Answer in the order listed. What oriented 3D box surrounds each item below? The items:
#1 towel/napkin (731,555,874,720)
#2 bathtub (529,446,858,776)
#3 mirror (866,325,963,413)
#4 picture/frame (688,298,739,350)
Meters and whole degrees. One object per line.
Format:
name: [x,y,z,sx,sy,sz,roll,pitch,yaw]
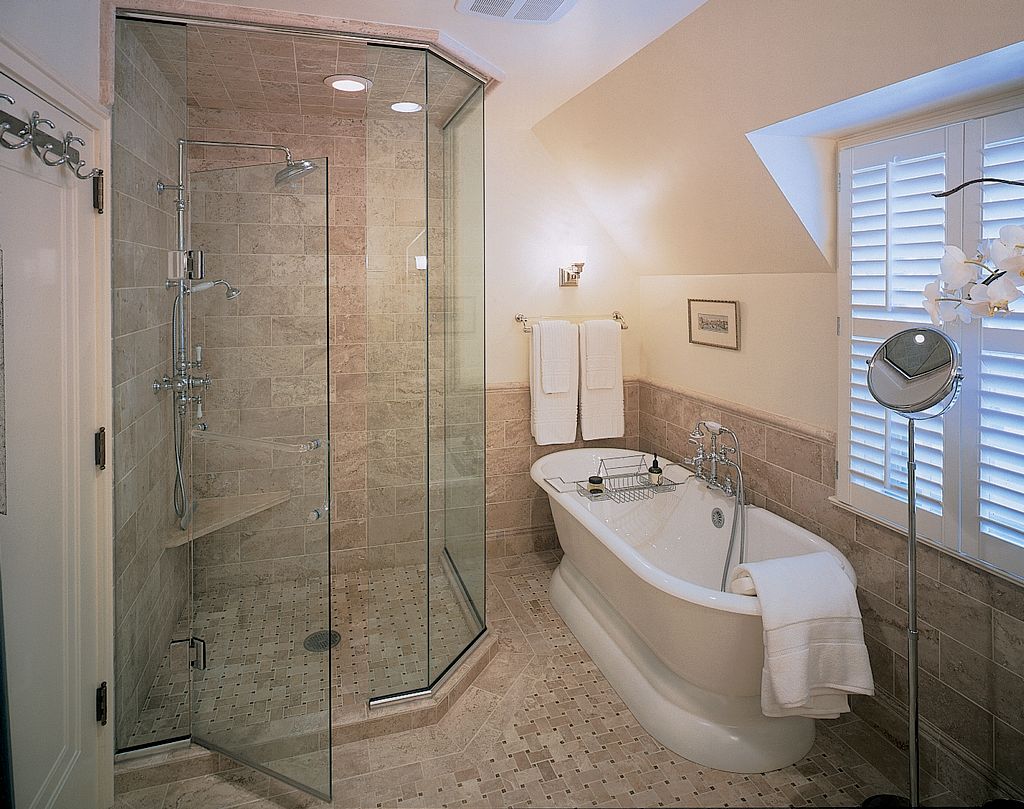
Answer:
towel/napkin: [1.103,0.869,2.802,0.466,0.618,0.216,0,-3,0]
bathtub: [0.743,0.874,3.789,0.925,0.761,2.188,-6,12,-19]
mirror: [1.324,-0.112,2.527,0.116,0.277,0.304,-6,9,-24]
picture/frame: [1.101,-0.447,4.150,0.377,0.247,0.013,0,-2,-35]
